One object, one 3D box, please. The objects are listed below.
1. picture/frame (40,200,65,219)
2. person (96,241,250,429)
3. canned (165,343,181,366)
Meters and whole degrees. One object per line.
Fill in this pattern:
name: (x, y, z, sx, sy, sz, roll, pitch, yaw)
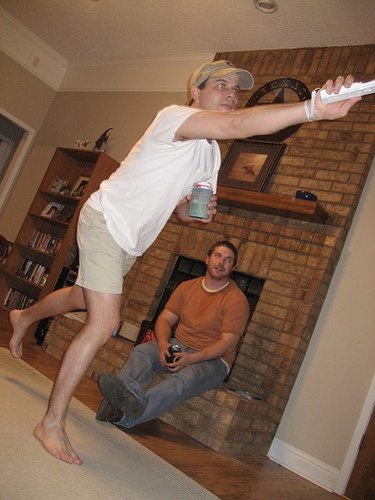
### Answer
picture/frame: (-1.679, -0.500, 4.433, 0.233, 0.187, 0.048, 3, -27, 12)
person: (-0.049, 0.391, 1.955, 0.520, 0.883, 1.058, 15, 3, 24)
canned: (-0.076, 0.540, 1.830, 0.082, 0.104, 0.058, 14, -26, 14)
